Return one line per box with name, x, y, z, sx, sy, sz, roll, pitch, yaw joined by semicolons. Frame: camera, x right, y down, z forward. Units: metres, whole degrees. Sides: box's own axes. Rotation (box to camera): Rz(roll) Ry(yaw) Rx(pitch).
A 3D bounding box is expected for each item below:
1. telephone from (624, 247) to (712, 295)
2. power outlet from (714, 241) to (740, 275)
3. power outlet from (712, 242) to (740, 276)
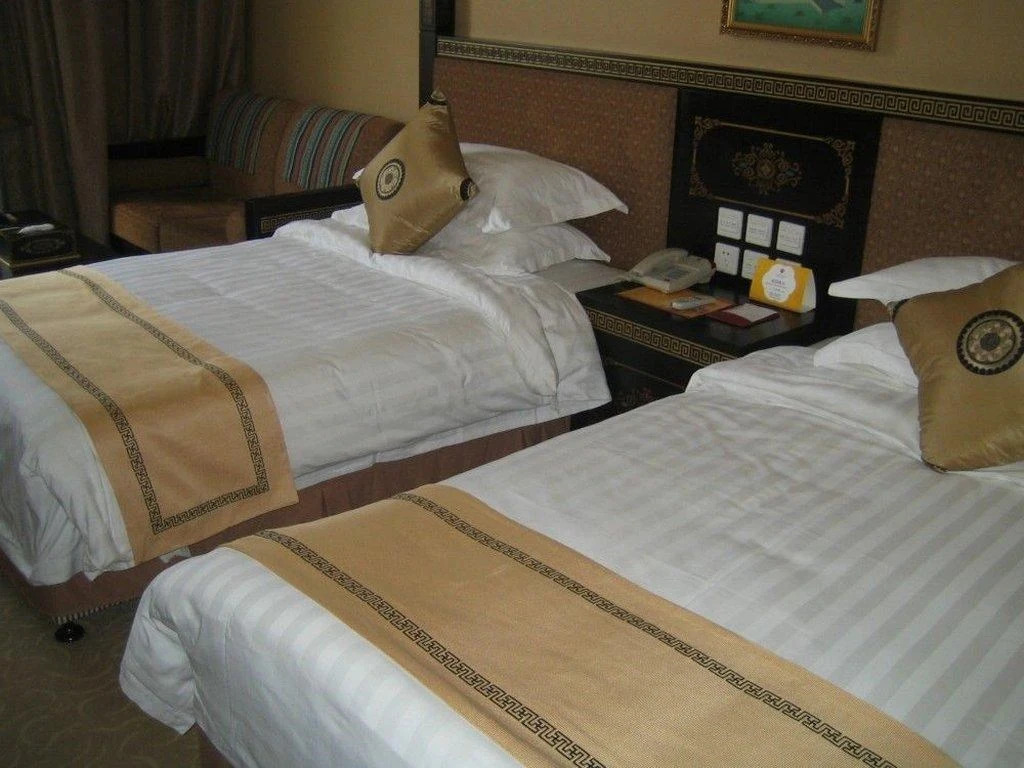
telephone;0.761;-0.527;3.427;0.270;0.102;0.273;-24;31;-31
power outlet;1.003;-0.591;3.445;0.145;0.139;0.016;20;32;38
power outlet;1.001;-0.587;3.448;0.147;0.141;0.017;20;32;38
